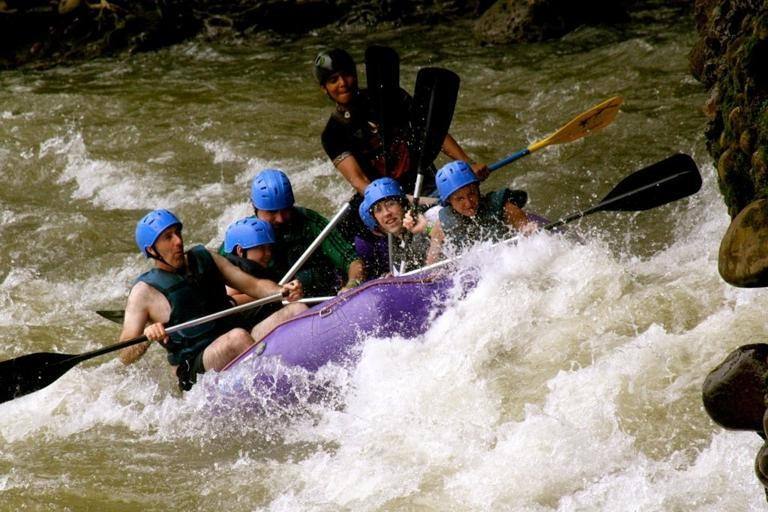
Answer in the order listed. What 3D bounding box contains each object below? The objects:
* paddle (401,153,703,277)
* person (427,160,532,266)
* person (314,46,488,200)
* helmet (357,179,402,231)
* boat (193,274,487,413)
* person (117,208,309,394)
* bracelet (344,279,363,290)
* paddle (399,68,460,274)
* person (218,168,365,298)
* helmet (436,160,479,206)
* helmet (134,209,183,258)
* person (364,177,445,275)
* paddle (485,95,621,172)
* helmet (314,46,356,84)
[{"bbox_3d":[1.610,-0.227,12.173,0.473,3.965,0.137,34,59,-22],"label":"paddle"},{"bbox_3d":[0.836,-0.435,11.238,0.999,0.954,0.466,-26,18,-2],"label":"person"},{"bbox_3d":[0.406,-1.060,12.352,1.227,1.714,0.722,-16,41,-34],"label":"person"},{"bbox_3d":[-0.054,-0.518,11.388,0.367,0.397,0.471,-24,42,8],"label":"helmet"},{"bbox_3d":[-0.477,0.924,10.703,2.080,0.478,1.130,-31,4,8],"label":"boat"},{"bbox_3d":[-1.580,0.491,11.107,1.178,1.367,1.090,-29,13,34],"label":"person"},{"bbox_3d":[-0.287,0.275,11.190,0.044,0.053,0.173,15,40,30],"label":"bracelet"},{"bbox_3d":[0.382,-0.806,12.320,0.522,2.314,0.234,19,30,22],"label":"paddle"},{"bbox_3d":[-0.905,-0.285,11.941,1.098,0.900,1.443,-31,19,-6],"label":"person"},{"bbox_3d":[0.664,-0.681,11.101,0.313,0.321,0.407,-26,73,-1],"label":"helmet"},{"bbox_3d":[-2.146,-0.224,11.021,0.535,0.373,0.377,-7,10,32],"label":"helmet"},{"bbox_3d":[0.125,-0.269,11.417,0.790,0.919,0.414,-20,2,21],"label":"person"},{"bbox_3d":[1.705,-1.215,12.975,0.326,2.885,0.192,39,70,-11],"label":"paddle"},{"bbox_3d":[-0.504,-1.921,11.893,0.404,0.380,0.273,-5,49,-8],"label":"helmet"}]
